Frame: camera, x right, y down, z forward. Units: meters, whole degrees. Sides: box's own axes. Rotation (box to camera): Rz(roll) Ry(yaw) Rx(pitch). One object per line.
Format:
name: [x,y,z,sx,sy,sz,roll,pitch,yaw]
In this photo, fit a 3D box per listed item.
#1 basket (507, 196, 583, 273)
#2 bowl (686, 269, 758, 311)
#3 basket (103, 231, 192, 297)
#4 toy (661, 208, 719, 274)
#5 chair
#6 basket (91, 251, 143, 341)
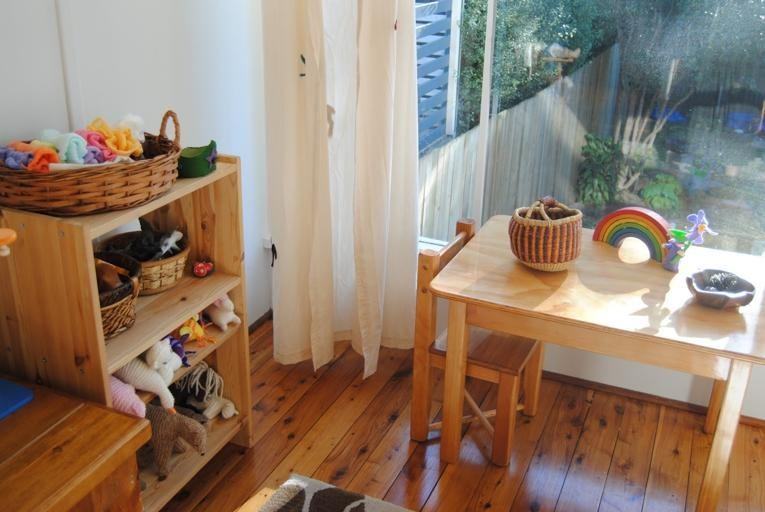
basket: [0.696,-0.116,2.388,0.317,0.325,0.322,13,28,36]
bowl: [1.302,0.135,2.085,0.169,0.064,0.176,-2,34,1]
basket: [-0.950,0.057,2.180,0.273,0.126,0.277,19,38,13]
toy: [1.371,-0.055,2.395,0.205,0.206,0.142,-51,49,0]
chair: [0.438,0.427,2.444,0.565,1.057,0.638,11,33,20]
basket: [-0.974,0.122,1.987,0.176,0.250,0.335,-16,33,-24]
